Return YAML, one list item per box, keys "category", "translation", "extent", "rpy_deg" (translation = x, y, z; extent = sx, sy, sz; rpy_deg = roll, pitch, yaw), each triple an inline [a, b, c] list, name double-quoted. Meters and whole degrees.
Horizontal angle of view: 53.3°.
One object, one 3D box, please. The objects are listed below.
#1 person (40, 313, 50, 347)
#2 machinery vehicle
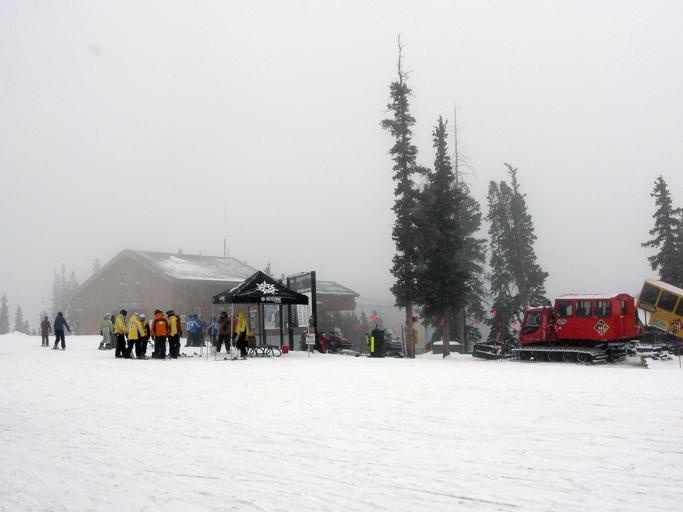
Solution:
- category: "person"
  translation: [-16.161, 4.082, 37.164]
  extent: [0.420, 1.681, 2.620]
  rpy_deg: [3, -9, -23]
- category: "machinery vehicle"
  translation: [10.231, 3.214, 29.065]
  extent: [4.786, 3.358, 3.215]
  rpy_deg: [-4, -7, 43]
